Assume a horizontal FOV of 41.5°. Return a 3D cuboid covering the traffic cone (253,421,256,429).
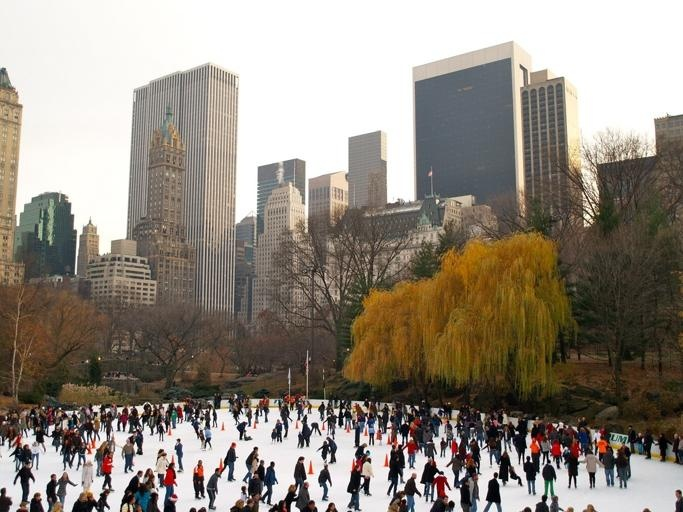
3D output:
[{"bbox_3d":[-7.121,13.980,74.532,0.377,0.617,0.393,4,-8,-15],"label":"traffic cone"}]
